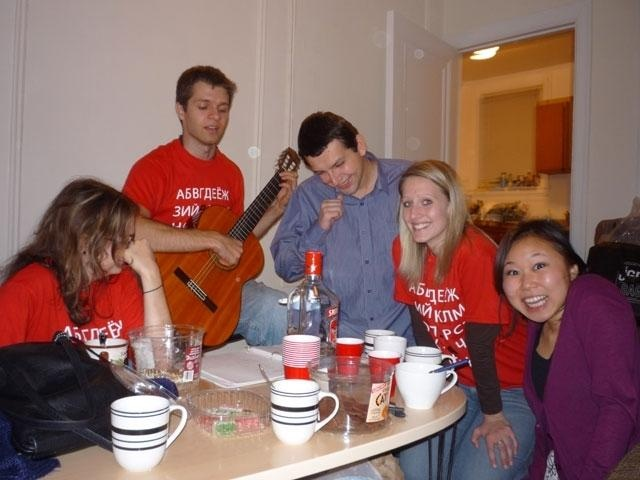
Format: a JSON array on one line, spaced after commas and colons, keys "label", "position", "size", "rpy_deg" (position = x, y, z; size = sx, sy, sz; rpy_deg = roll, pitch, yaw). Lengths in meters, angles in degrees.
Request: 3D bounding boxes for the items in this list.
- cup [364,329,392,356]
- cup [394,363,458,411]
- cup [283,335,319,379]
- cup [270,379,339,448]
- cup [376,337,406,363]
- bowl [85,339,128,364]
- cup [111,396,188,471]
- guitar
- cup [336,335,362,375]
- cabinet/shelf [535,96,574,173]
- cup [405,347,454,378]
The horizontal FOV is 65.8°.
[{"label": "cup", "position": [0.201, 0.353, 1.715], "size": [0.079, 0.063, 0.064], "rpy_deg": [1, 4, 21]}, {"label": "cup", "position": [0.317, 0.424, 1.435], "size": [0.173, 0.123, 0.128], "rpy_deg": [2, 0, -5]}, {"label": "cup", "position": [-0.055, 0.335, 1.433], "size": [0.106, 0.133, 0.114], "rpy_deg": [1, -4, 0]}, {"label": "cup", "position": [-0.043, 0.406, 1.191], "size": [0.167, 0.135, 0.111], "rpy_deg": [4, -4, -31]}, {"label": "cup", "position": [0.230, 0.353, 1.591], "size": [0.081, 0.072, 0.065], "rpy_deg": [6, -8, -33]}, {"label": "bowl", "position": [-0.597, 0.290, 1.399], "size": [0.090, 0.075, 0.082], "rpy_deg": [0, 1, 0]}, {"label": "cup", "position": [-0.381, 0.422, 1.125], "size": [0.111, 0.139, 0.173], "rpy_deg": [-4, -8, 40]}, {"label": "guitar", "position": [-0.509, 0.053, 2.830], "size": [0.115, 0.445, 0.925], "rpy_deg": [-15, 35, 40]}, {"label": "cup", "position": [0.091, 0.363, 1.553], "size": [0.089, 0.102, 0.091], "rpy_deg": [2, -1, 0]}, {"label": "cabinet/shelf", "position": [3.269, -1.416, 6.620], "size": [0.561, 0.899, 0.529], "rpy_deg": [-4, 7, -7]}, {"label": "cup", "position": [0.344, 0.377, 1.553], "size": [0.124, 0.097, 0.083], "rpy_deg": [2, -6, -14]}]
